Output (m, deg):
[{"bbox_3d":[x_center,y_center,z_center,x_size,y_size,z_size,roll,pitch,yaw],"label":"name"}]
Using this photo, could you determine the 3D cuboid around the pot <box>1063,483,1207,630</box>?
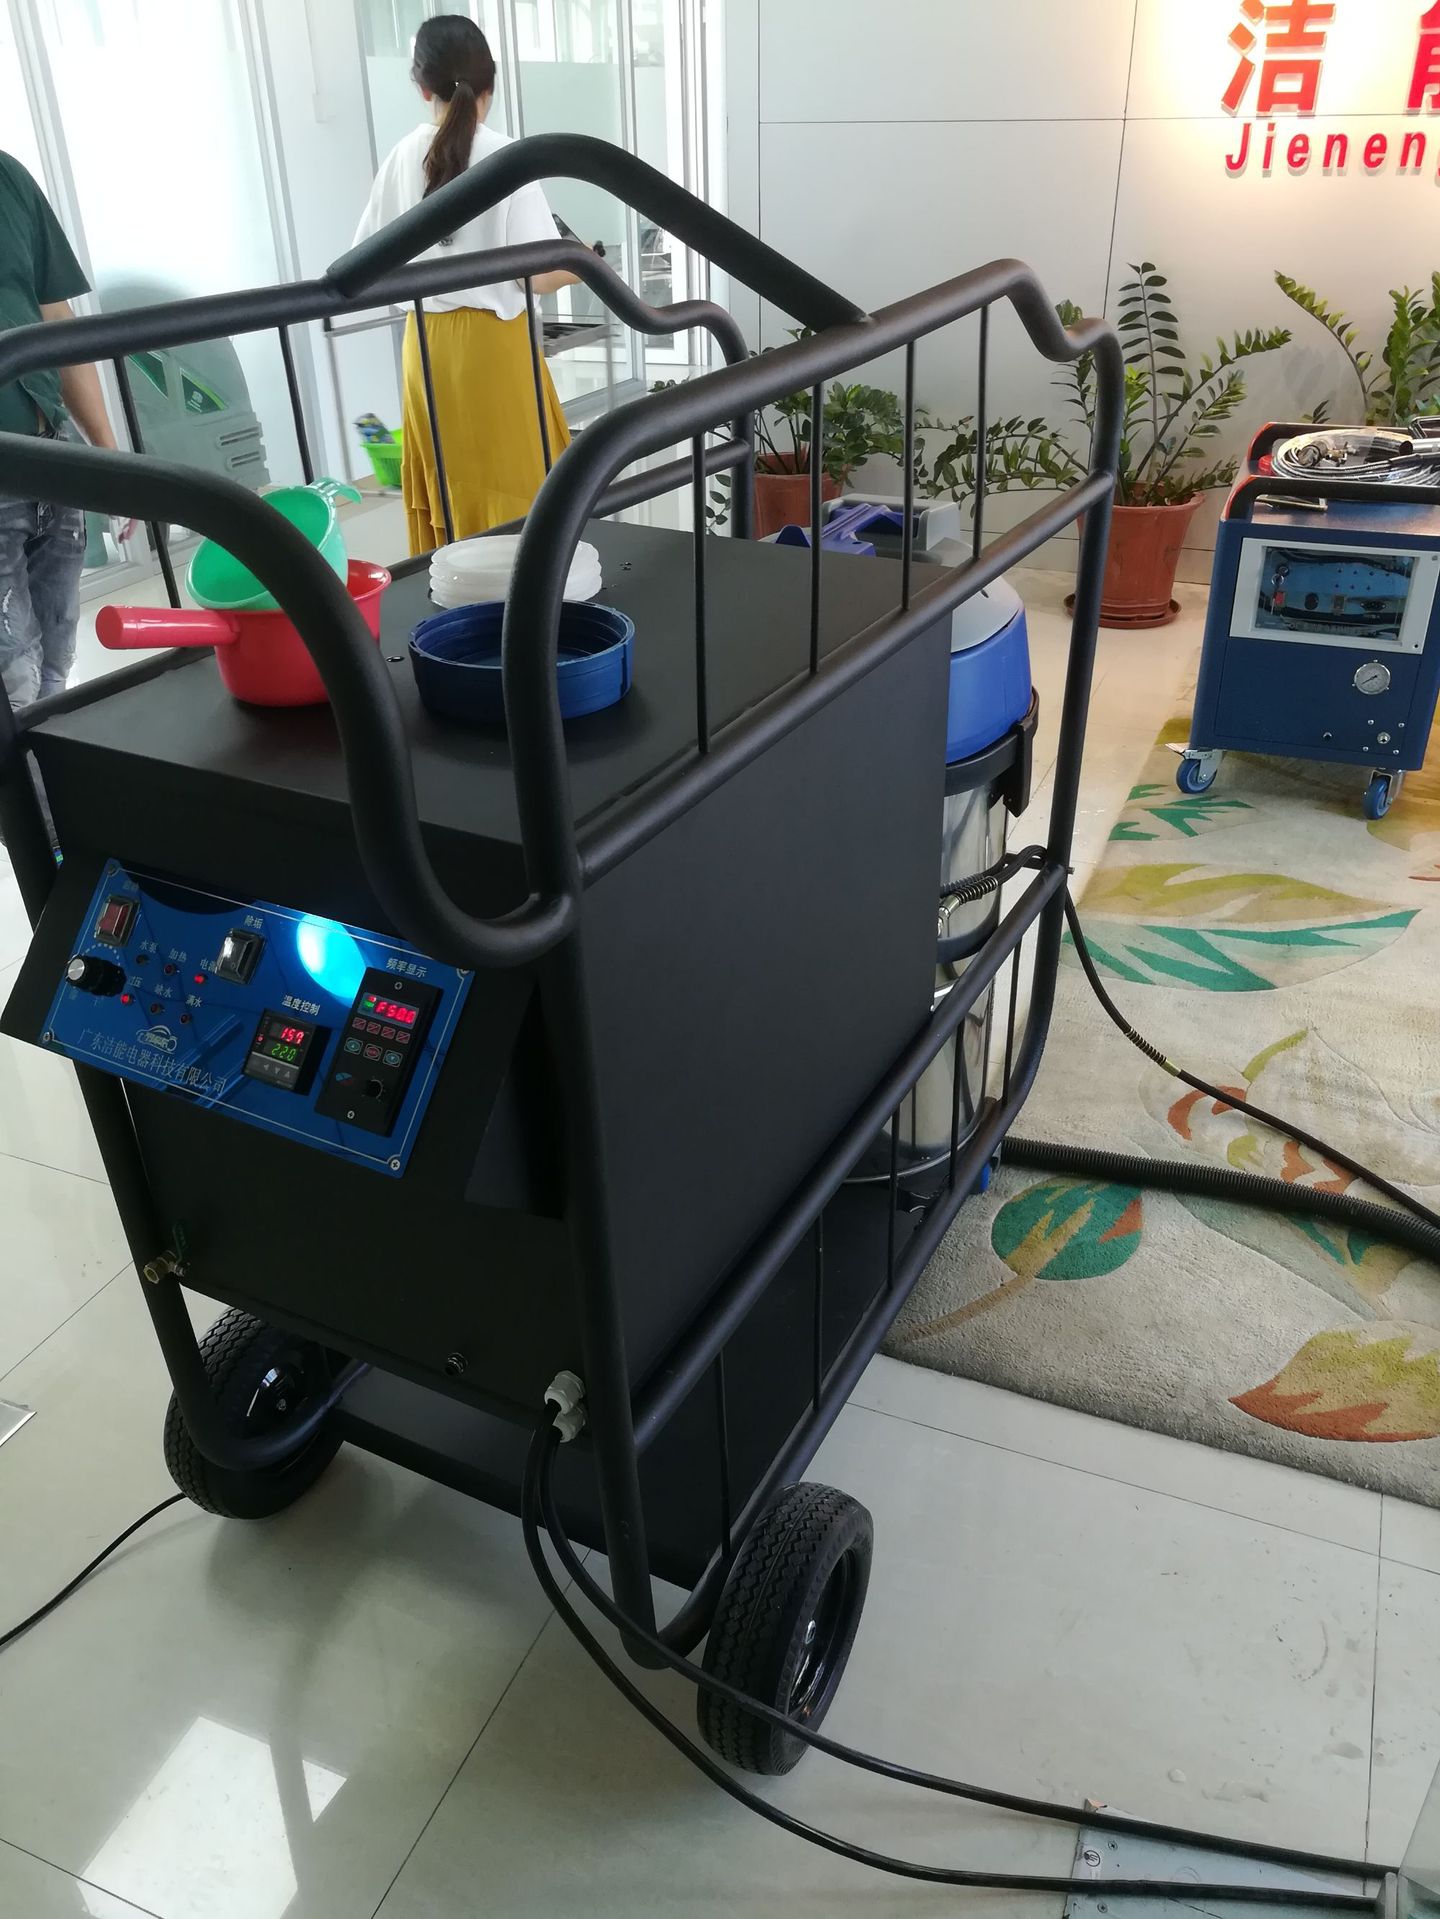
[{"bbox_3d":[1.169,-1.153,3.777,0.346,0.372,0.339,10,3,-1],"label":"pot"}]

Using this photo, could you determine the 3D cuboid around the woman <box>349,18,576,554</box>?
[{"bbox_3d":[-0.467,-1.298,2.804,0.413,1.151,0.353,11,43,13],"label":"woman"}]

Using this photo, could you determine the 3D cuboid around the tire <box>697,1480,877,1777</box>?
[{"bbox_3d":[0.048,0.503,0.984,0.060,0.194,0.181,12,67,18],"label":"tire"}]

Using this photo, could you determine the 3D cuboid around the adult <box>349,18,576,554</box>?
[{"bbox_3d":[-0.524,-1.306,2.805,0.436,1.188,0.407,1,46,-3],"label":"adult"}]
